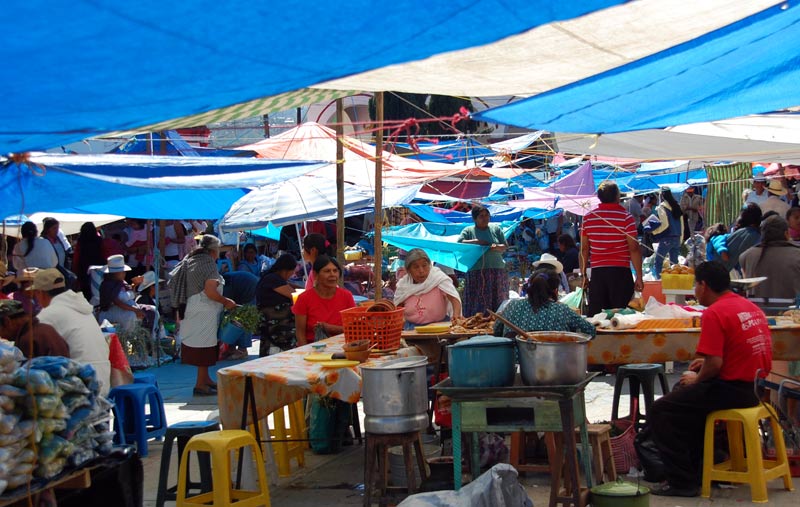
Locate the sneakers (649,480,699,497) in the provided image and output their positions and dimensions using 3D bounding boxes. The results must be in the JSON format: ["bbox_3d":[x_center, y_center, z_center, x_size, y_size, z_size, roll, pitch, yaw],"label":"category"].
[{"bbox_3d":[2.143,1.830,6.380,0.366,0.138,0.131,2,-1,22],"label":"sneakers"}]

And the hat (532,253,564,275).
[{"bbox_3d":[1.814,0.081,9.820,0.383,0.157,0.450,4,-23,35],"label":"hat"}]

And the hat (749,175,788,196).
[{"bbox_3d":[5.892,-1.098,13.020,0.721,0.196,0.721,9,-2,24],"label":"hat"}]

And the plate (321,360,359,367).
[{"bbox_3d":[-0.450,0.829,6.137,0.273,0.047,0.177,-7,-5,42],"label":"plate"}]

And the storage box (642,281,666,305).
[{"bbox_3d":[3.306,0.501,10.552,0.323,0.430,0.318,-1,6,13],"label":"storage box"}]

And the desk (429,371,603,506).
[{"bbox_3d":[0.903,1.124,6.104,1.391,1.012,0.937,-2,-4,14],"label":"desk"}]

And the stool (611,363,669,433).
[{"bbox_3d":[2.195,1.253,7.257,0.583,0.708,0.552,-3,-2,22],"label":"stool"}]

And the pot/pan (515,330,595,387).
[{"bbox_3d":[1.105,0.768,5.897,0.594,0.336,0.540,-4,4,-37],"label":"pot/pan"}]

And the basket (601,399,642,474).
[{"bbox_3d":[1.892,1.591,6.847,0.370,0.562,0.589,0,-3,14],"label":"basket"}]

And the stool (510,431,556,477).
[{"bbox_3d":[1.033,1.659,6.869,0.425,0.411,0.394,-4,-19,-8],"label":"stool"}]

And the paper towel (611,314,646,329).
[{"bbox_3d":[2.054,0.587,7.334,0.415,0.119,0.116,-7,32,-46],"label":"paper towel"}]

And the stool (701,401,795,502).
[{"bbox_3d":[2.749,1.581,6.693,0.801,0.984,0.780,-5,-4,30],"label":"stool"}]

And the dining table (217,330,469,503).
[{"bbox_3d":[-0.715,1.007,6.374,1.104,0.718,1.683,0,3,30],"label":"dining table"}]

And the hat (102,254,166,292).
[{"bbox_3d":[-3.626,0.325,10.975,0.755,0.261,0.561,21,27,-3],"label":"hat"}]

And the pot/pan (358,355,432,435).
[{"bbox_3d":[-0.025,1.069,6.106,0.540,0.546,0.650,-3,3,-16],"label":"pot/pan"}]

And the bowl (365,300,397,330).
[{"bbox_3d":[-0.154,0.516,6.781,0.194,0.097,0.280,0,-17,1],"label":"bowl"}]

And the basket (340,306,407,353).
[{"bbox_3d":[-0.213,0.621,6.826,0.483,0.287,0.335,-1,-2,15],"label":"basket"}]
